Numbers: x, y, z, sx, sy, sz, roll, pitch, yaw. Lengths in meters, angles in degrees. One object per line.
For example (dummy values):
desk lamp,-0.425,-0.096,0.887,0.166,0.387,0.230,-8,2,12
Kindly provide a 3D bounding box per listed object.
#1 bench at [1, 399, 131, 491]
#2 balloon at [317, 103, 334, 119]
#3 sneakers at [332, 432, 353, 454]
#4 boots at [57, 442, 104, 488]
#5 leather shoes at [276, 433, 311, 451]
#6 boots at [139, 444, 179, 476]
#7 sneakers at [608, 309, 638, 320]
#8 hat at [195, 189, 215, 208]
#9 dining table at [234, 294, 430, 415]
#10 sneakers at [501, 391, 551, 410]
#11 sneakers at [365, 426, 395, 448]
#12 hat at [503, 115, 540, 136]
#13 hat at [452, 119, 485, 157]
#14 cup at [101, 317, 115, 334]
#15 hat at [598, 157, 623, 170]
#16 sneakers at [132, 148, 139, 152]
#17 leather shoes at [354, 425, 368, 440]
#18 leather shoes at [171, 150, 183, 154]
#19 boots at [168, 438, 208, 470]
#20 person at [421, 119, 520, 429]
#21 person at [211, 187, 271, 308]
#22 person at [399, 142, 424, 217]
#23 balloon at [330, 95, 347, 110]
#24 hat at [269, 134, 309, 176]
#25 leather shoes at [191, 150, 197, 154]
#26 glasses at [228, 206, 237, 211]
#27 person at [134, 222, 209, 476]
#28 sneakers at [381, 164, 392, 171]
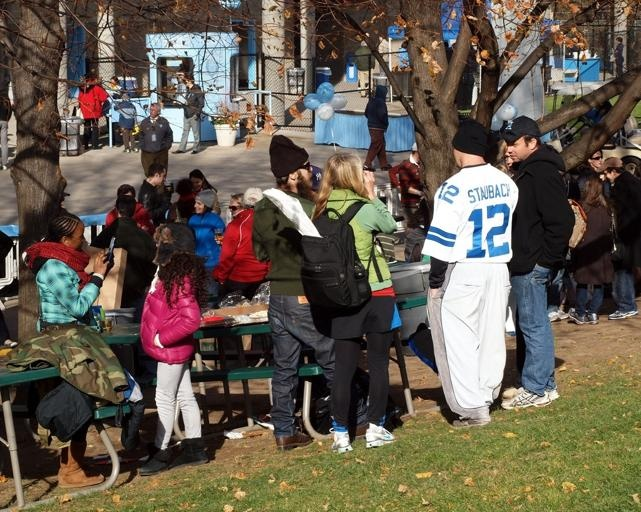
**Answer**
bench,-1.826,1.317,5.437,0.997,0.631,0.745,0,3,25
balloon,0.173,-3.962,20.074,0.445,0.495,0.429,3,0,-41
sneakers,0.166,1.411,5.541,0.086,0.105,0.230,-2,3,-7
boots,-1.829,1.601,5.698,0.445,0.419,0.226,-1,2,-12
leather shoes,-0.210,1.481,5.973,0.298,0.131,0.107,-7,11,-31
boots,-1.231,1.618,5.875,0.159,0.170,0.439,-1,4,35
sneakers,4.040,0.785,9.860,0.418,0.174,0.141,2,-1,2
hat,-1.579,-0.822,10.371,0.288,0.222,0.201,-10,22,-43
dining table,0.019,1.073,6.429,1.446,0.872,1.422,1,-3,-11
sneakers,1.699,1.192,6.115,0.425,0.181,0.155,-1,-3,1
sneakers,0.446,1.368,5.563,0.108,0.127,0.268,1,2,40
hat,1.699,-1.095,6.169,0.240,0.132,0.181,9,10,12
hat,1.169,-0.917,5.693,0.246,0.221,0.279,11,7,17
cup,-1.846,0.605,6.400,0.112,0.130,0.105,0,-7,0
hat,4.240,-1.305,10.576,0.397,0.218,0.281,0,1,3
sneakers,-5.794,-3.347,23.143,0.092,0.178,0.267,-3,12,-29
leather shoes,0.327,1.423,5.936,0.088,0.076,0.118,0,-13,3
leather shoes,-4.525,-3.343,23.416,0.413,0.172,0.155,3,5,0
boots,-1.018,1.568,5.947,0.441,0.251,0.145,1,-2,-17
person,1.172,0.137,5.590,0.741,1.765,0.480,-7,3,6
person,-0.874,0.114,8.295,0.620,1.683,0.534,-1,25,-27
person,1.538,-1.252,12.491,0.375,1.013,1.154,-7,3,6
balloon,0.524,-4.581,21.547,0.429,0.395,0.830,-7,3,2
hat,-0.244,-0.791,5.738,0.293,0.293,0.229,-8,3,-3
leather shoes,-3.991,-3.322,23.370,0.087,0.064,0.163,0,-4,12
glasses,-1.104,-0.615,9.377,0.085,0.027,0.080,6,-1,-22
person,-1.178,0.742,5.903,0.728,1.854,0.672,-8,3,-3
sneakers,1.900,-2.542,20.857,0.409,0.164,0.146,-22,24,-37
